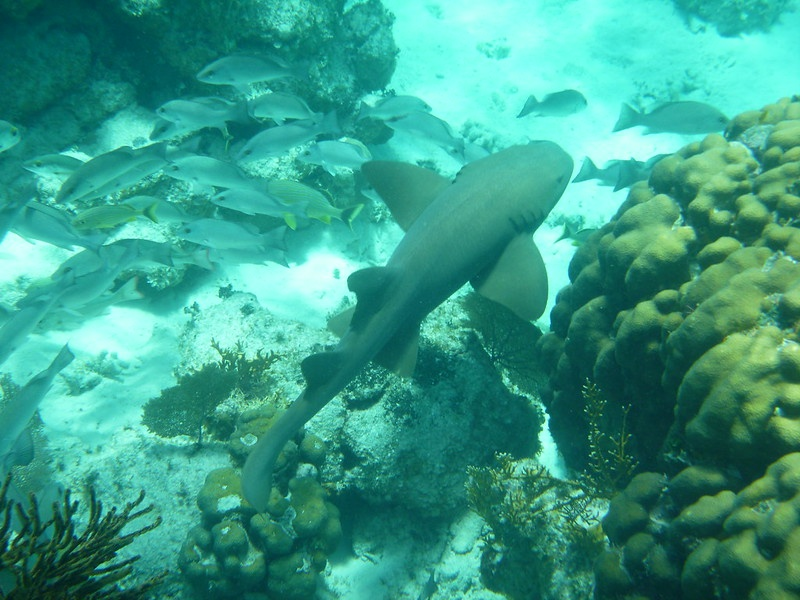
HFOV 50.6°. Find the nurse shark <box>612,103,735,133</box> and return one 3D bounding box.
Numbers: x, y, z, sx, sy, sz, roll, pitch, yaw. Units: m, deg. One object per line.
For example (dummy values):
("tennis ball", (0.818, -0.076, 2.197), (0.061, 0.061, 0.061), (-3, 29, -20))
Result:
("nurse shark", (4.553, -3.036, 14.207), (1.827, 0.573, 1.617), (-1, 26, -2))
